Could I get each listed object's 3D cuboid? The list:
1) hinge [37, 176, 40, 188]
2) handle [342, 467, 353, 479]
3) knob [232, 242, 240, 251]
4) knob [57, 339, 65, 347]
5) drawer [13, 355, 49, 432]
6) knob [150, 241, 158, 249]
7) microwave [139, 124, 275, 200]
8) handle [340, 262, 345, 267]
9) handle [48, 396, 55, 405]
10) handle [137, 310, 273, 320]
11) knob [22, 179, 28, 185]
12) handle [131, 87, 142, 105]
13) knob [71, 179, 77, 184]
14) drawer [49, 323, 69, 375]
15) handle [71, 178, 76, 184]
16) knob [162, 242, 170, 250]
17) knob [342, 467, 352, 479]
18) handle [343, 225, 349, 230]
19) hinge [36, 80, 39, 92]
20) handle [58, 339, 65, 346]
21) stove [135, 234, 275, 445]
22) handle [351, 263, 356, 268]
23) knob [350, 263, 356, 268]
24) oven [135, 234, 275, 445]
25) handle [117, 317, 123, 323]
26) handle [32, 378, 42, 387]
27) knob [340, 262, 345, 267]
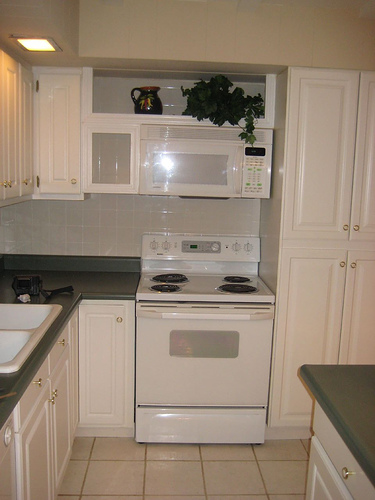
[{"bbox_3d":[-0.838,-0.383,2.419,0.012,0.047,0.034,0,-11,-13],"label":"hinge"},{"bbox_3d":[0.344,0.483,0.944,0.028,0.012,0.019,0,44,1],"label":"handle"},{"bbox_3d":[0.308,-0.026,2.709,0.041,0.052,0.013,0,6,5],"label":"knob"},{"bbox_3d":[-0.534,0.389,1.820,0.026,0.020,0.023,-1,35,-16],"label":"knob"},{"bbox_3d":[-0.477,0.441,1.304,0.049,0.090,0.061,0,11,-11],"label":"drawer"},{"bbox_3d":[-0.207,-0.032,2.678,0.038,0.046,0.016,-1,3,3],"label":"knob"},{"bbox_3d":[0.122,-0.528,2.577,0.768,0.377,0.346,4,18,12],"label":"microwave"},{"bbox_3d":[0.827,0.072,2.300,0.027,0.025,0.006,3,3,5],"label":"handle"},{"bbox_3d":[-0.508,0.561,1.616,0.033,0.008,0.034,4,7,12],"label":"handle"},{"bbox_3d":[0.099,0.341,2.256,0.719,0.053,0.066,2,8,-5],"label":"handle"},{"bbox_3d":[-0.841,-0.352,2.234,0.020,0.019,0.010,16,-9,15],"label":"knob"},{"bbox_3d":[-0.294,-0.877,2.475,0.057,0.115,0.151,2,8,-7],"label":"handle"},{"bbox_3d":[-0.633,-0.382,2.405,0.029,0.024,0.012,0,8,-14],"label":"knob"},{"bbox_3d":[-0.527,0.406,1.750,0.053,0.101,0.050,0,12,-11],"label":"drawer"},{"bbox_3d":[-0.635,-0.382,2.401,0.021,0.013,0.020,13,34,11],"label":"handle"},{"bbox_3d":[-0.135,-0.030,2.680,0.039,0.042,0.011,2,7,-3],"label":"knob"},{"bbox_3d":[0.341,0.484,0.942,0.030,0.013,0.021,-1,34,-2],"label":"knob"},{"bbox_3d":[0.832,-0.120,2.271,0.026,0.025,0.006,-1,-7,-3],"label":"handle"},{"bbox_3d":[-0.816,-0.885,2.343,0.014,0.055,0.006,2,8,-3],"label":"hinge"},{"bbox_3d":[-0.533,0.389,1.825,0.030,0.023,0.026,0,50,-24],"label":"handle"},{"bbox_3d":[0.082,0.487,2.527,0.747,1.105,0.575,2,8,-3],"label":"stove"},{"bbox_3d":[0.884,0.078,2.299,0.029,0.027,0.008,5,2,0],"label":"handle"},{"bbox_3d":[0.886,0.079,2.299,0.020,0.019,0.007,19,3,1],"label":"knob"},{"bbox_3d":[0.062,0.457,2.769,1.021,1.080,0.980,2,8,-4],"label":"oven"},{"bbox_3d":[-0.361,0.370,2.292,0.026,0.031,0.010,2,8,-7],"label":"handle"},{"bbox_3d":[-0.485,0.428,1.398,0.033,0.024,0.028,1,20,-15],"label":"handle"},{"bbox_3d":[0.827,0.072,2.300,0.025,0.024,0.007,2,4,6],"label":"knob"}]
